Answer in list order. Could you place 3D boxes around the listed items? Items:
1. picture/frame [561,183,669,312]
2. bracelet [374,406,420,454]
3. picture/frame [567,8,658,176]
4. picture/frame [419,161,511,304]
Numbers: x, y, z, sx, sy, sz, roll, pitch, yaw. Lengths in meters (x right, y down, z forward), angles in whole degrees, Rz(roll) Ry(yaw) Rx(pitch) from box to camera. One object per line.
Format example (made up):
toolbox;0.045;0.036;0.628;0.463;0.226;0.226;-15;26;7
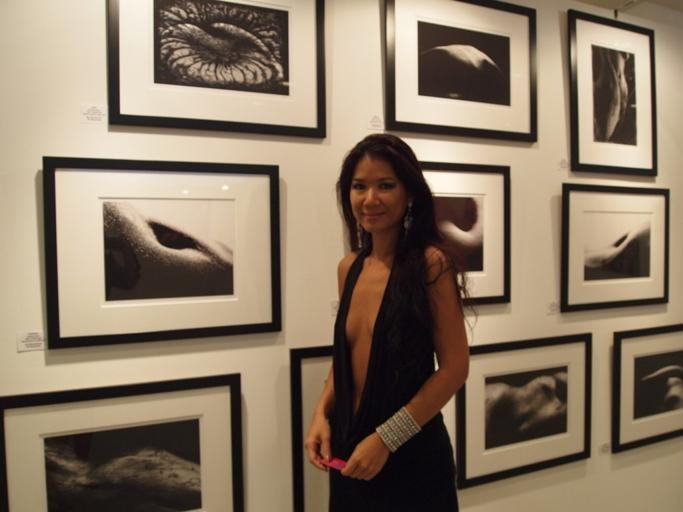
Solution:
picture/frame;1.892;-0.068;3.964;0.809;0.929;0.062;0;2;-24
bracelet;0.268;0.824;2.664;0.212;0.166;0.059;-36;-7;1
picture/frame;1.899;-1.117;3.938;0.755;1.100;0.038;-2;2;-18
picture/frame;0.722;-0.159;3.372;0.804;0.933;0.062;-1;2;-11
